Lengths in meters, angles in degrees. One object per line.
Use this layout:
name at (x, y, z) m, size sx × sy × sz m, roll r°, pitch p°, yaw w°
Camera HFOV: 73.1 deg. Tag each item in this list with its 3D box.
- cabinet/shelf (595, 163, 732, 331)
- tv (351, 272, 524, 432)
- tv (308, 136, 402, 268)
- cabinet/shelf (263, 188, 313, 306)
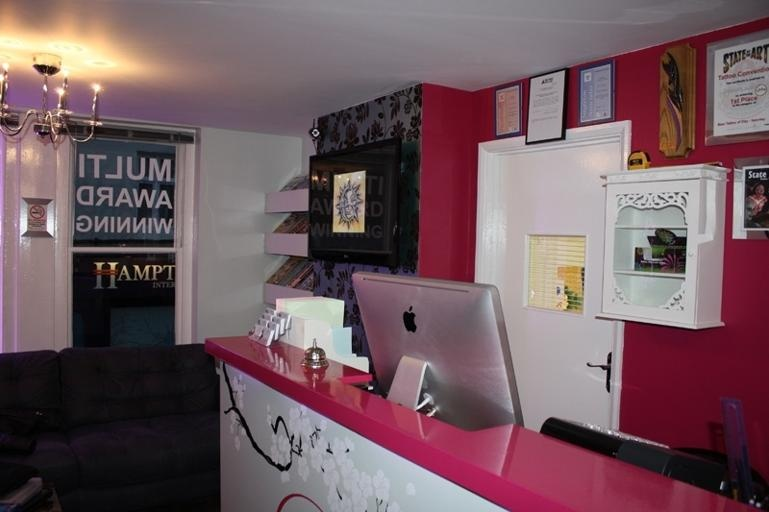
cabinet/shelf at (1.729, -0.051, 3.317) m, size 0.264 × 0.938 × 0.634 m, roll 1°, pitch 2°, yaw -35°
tv at (0.162, 0.444, 2.375) m, size 0.346 × 0.666 × 0.896 m, roll -3°, pitch 3°, yaw -39°
tv at (-0.305, -0.472, 4.954) m, size 0.129 × 1.093 × 1.463 m, roll 0°, pitch 3°, yaw -39°
cabinet/shelf at (-1.073, -0.090, 6.091) m, size 0.444 × 1.369 × 1.122 m, roll -2°, pitch 2°, yaw -29°
